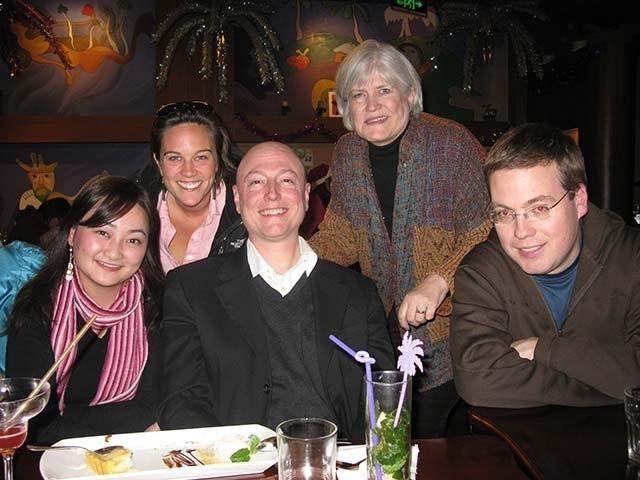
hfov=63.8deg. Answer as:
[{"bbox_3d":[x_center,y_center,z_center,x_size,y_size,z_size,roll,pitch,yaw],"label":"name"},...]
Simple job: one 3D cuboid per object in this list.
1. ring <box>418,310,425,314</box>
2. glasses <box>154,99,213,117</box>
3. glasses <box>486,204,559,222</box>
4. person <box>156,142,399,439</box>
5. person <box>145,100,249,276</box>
[{"bbox_3d":[0.566,0.395,2.850,0.048,0.025,0.014,-4,5,-23],"label":"ring"},{"bbox_3d":[-0.949,-0.931,3.620,0.377,0.126,0.190,-3,4,-10],"label":"glasses"},{"bbox_3d":[0.993,-0.130,2.496,0.306,0.091,0.095,-1,5,23],"label":"glasses"},{"bbox_3d":[-0.233,0.228,2.586,1.162,1.466,0.581,-4,5,-15],"label":"person"},{"bbox_3d":[-0.884,-0.387,3.935,0.849,1.147,0.561,-6,7,0],"label":"person"}]
